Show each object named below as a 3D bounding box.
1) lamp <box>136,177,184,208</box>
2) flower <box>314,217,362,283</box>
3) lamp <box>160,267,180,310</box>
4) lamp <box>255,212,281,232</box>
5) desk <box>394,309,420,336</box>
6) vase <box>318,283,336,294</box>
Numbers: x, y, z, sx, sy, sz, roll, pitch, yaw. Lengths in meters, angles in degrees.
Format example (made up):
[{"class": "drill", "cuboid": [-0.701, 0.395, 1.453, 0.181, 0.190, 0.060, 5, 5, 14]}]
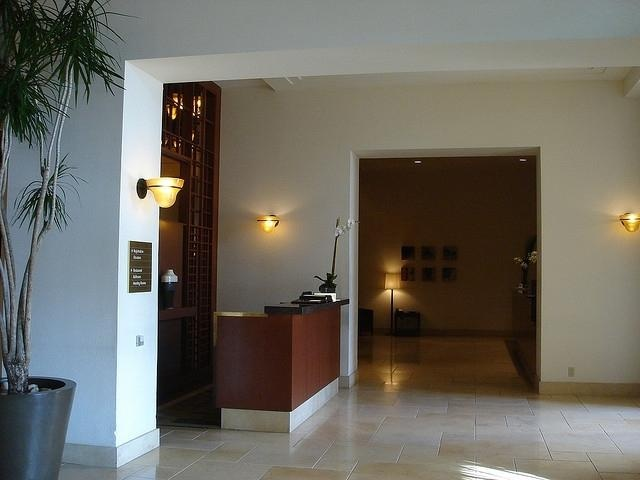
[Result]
[{"class": "lamp", "cuboid": [-1.514, -0.462, 4.646, 0.336, 0.217, 0.287, -4, -5, 34]}, {"class": "flower", "cuboid": [0.245, 0.161, 7.357, 0.613, 1.008, 0.996, 0, -3, 3]}, {"class": "lamp", "cuboid": [-2.006, 0.660, 6.529, 0.206, 0.516, 0.256, 1, -3, -18]}, {"class": "lamp", "cuboid": [-0.842, -0.263, 7.795, 0.390, 0.278, 0.164, -1, -3, 26]}, {"class": "desk", "cuboid": [2.543, 2.442, 14.405, 0.957, 1.079, 0.600, 0, -7, 0]}, {"class": "vase", "cuboid": [0.110, 0.683, 6.932, 0.225, 0.116, 0.325, 1, -3, 0]}]
